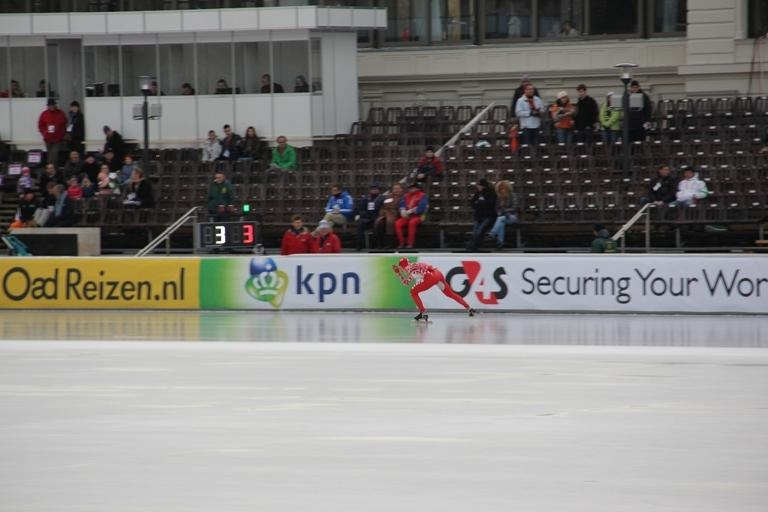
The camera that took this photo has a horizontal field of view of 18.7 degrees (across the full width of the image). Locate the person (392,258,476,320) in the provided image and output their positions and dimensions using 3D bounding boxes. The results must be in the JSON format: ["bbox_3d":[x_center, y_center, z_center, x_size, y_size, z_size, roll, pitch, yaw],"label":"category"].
[{"bbox_3d":[1.319,0.830,59.991,2.230,1.504,0.763,-3,5,29],"label":"person"}]

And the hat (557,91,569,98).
[{"bbox_3d":[5.036,-4.442,65.574,0.364,0.144,0.470,-5,4,0],"label":"hat"}]

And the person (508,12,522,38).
[{"bbox_3d":[4.039,-6.975,71.914,0.377,0.689,0.159,0,4,7],"label":"person"}]

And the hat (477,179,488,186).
[{"bbox_3d":[2.701,-1.921,62.863,0.273,0.218,0.199,0,3,-3],"label":"hat"}]
